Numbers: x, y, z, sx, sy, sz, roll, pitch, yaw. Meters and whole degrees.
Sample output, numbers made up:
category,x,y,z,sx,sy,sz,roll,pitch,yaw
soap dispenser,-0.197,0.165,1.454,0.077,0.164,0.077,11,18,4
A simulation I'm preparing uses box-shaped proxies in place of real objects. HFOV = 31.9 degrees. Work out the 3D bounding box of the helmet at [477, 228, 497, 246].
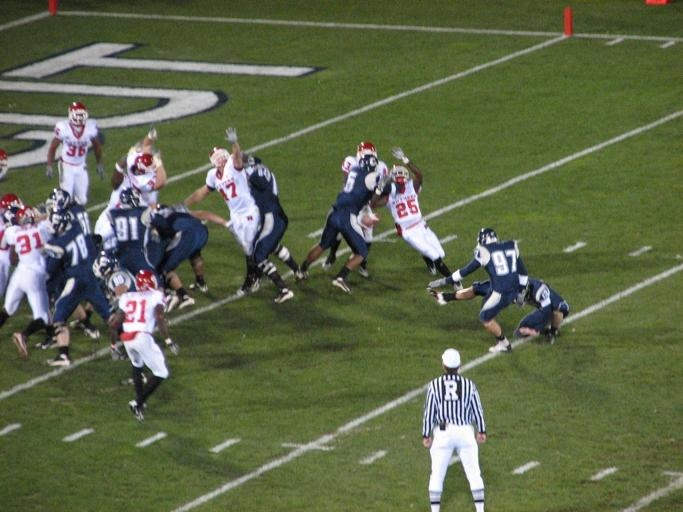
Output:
category,x,y,z,sx,sy,sz,roll,pitch,yaw
helmet,1.930,-0.256,15.769,0.293,0.201,0.449,2,1,3

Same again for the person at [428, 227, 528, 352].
category,x,y,z,sx,sy,sz,roll,pitch,yaw
person,1.952,0.426,16.029,0.671,1.664,0.968,-19,18,-33

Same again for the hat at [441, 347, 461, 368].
category,x,y,z,sx,sy,sz,roll,pitch,yaw
hat,1.259,1.158,13.558,0.189,0.091,0.247,4,34,5
